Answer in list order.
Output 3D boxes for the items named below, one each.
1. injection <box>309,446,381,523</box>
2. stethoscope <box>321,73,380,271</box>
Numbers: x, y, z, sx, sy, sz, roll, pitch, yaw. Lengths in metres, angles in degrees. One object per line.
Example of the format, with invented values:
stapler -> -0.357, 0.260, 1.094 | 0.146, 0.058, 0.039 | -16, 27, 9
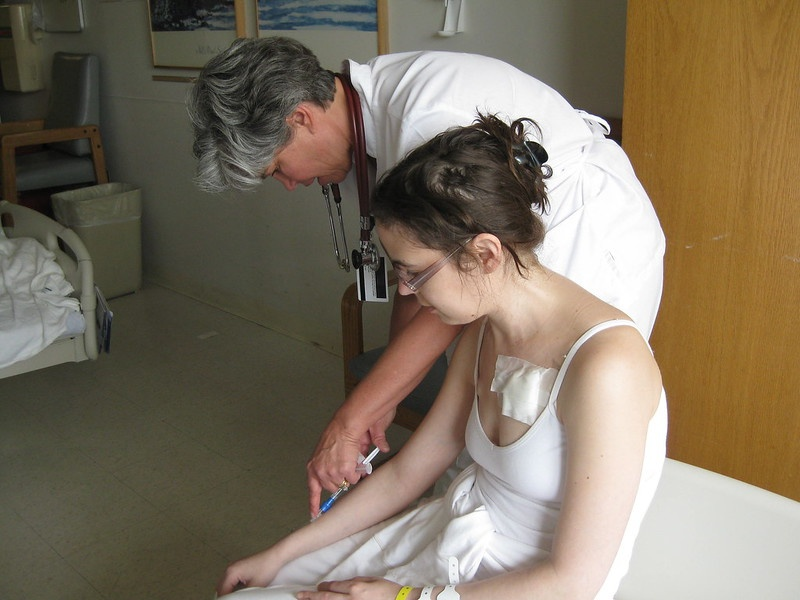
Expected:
injection -> -0.148, 0.454, 1.798 | 0.147, 0.163, 0.174 | -16, 28, -42
stethoscope -> -0.105, -0.261, 1.896 | 0.163, 0.645, 0.155 | -9, 25, -21
